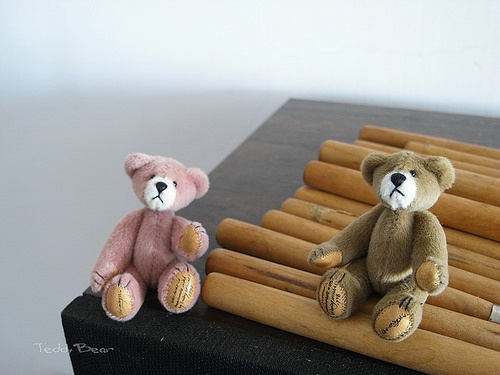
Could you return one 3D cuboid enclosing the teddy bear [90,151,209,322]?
[{"bbox_3d":[-0.260,0.125,1.469,0.296,0.367,0.262,1,28,-8],"label":"teddy bear"}]

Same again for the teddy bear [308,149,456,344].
[{"bbox_3d":[0.340,0.117,1.355,0.320,0.389,0.306,16,25,40],"label":"teddy bear"}]
